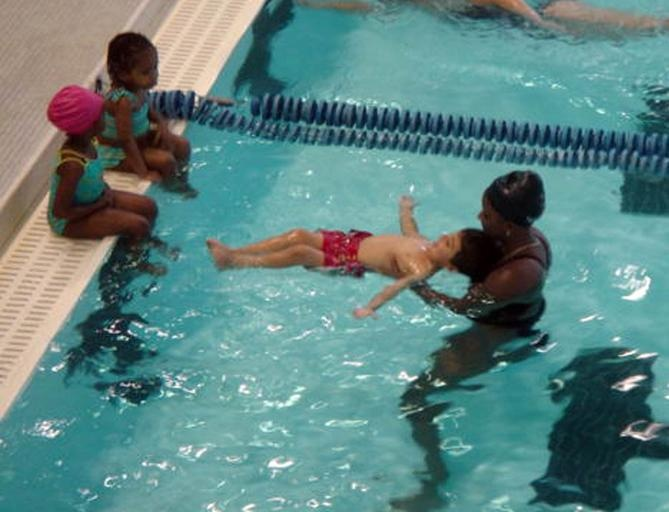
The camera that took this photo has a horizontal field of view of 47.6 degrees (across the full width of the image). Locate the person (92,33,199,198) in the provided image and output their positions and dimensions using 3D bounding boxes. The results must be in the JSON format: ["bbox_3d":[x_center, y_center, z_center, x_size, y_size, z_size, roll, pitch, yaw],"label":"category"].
[{"bbox_3d":[-1.150,-0.810,4.619,0.672,0.994,0.434,12,31,5],"label":"person"}]

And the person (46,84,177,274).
[{"bbox_3d":[-1.259,-0.431,4.295,0.739,0.946,0.450,6,32,-17],"label":"person"}]

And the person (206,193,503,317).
[{"bbox_3d":[0.167,0.020,4.165,0.936,0.194,0.710,-2,34,7],"label":"person"}]

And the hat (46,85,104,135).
[{"bbox_3d":[-1.370,-0.803,4.058,0.231,0.203,0.273,-14,-4,28],"label":"hat"}]

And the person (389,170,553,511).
[{"bbox_3d":[0.676,0.289,3.769,0.604,1.266,1.214,26,35,15],"label":"person"}]

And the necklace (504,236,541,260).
[{"bbox_3d":[0.951,-0.037,3.849,0.137,0.038,0.103,-30,16,10],"label":"necklace"}]
